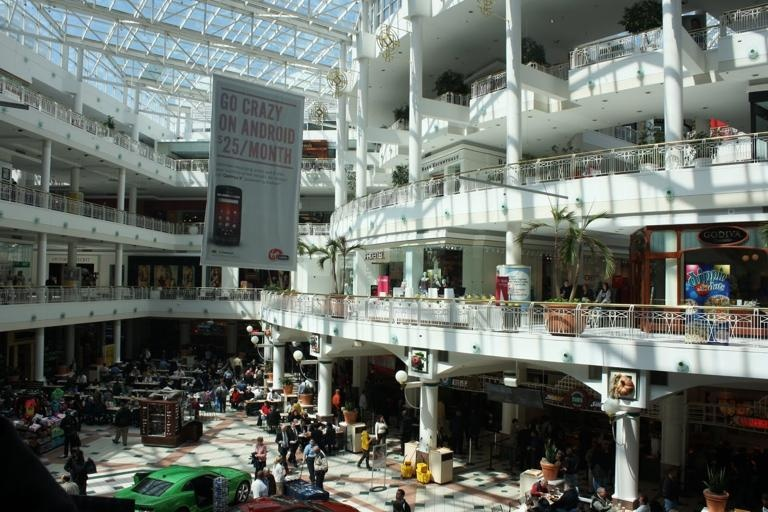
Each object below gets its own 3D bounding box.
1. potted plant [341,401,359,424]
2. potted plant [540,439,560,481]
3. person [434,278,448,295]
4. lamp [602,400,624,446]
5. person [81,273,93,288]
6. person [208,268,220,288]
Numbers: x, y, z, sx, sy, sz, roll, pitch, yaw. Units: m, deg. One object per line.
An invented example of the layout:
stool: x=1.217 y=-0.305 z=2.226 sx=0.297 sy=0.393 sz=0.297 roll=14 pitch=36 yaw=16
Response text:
potted plant: x=-1.793 y=7.502 z=34.911 sx=0.917 sy=1.109 sz=0.917 roll=4 pitch=-4 yaw=-29
potted plant: x=6.863 y=8.345 z=29.892 sx=0.800 sy=1.543 sz=1.261 roll=-3 pitch=-9 yaw=12
person: x=2.862 y=1.466 z=35.106 sx=0.747 sy=0.986 sz=0.684 roll=2 pitch=-9 yaw=-7
lamp: x=9.299 y=6.684 z=29.522 sx=0.638 sy=2.031 sz=5.538 roll=-3 pitch=-9 yaw=17
person: x=-20.136 y=1.646 z=48.904 sx=0.837 sy=0.848 sz=1.508 roll=0 pitch=5 yaw=-16
person: x=-12.941 y=1.512 z=54.882 sx=1.024 sy=1.453 sz=0.450 roll=2 pitch=-9 yaw=-15
